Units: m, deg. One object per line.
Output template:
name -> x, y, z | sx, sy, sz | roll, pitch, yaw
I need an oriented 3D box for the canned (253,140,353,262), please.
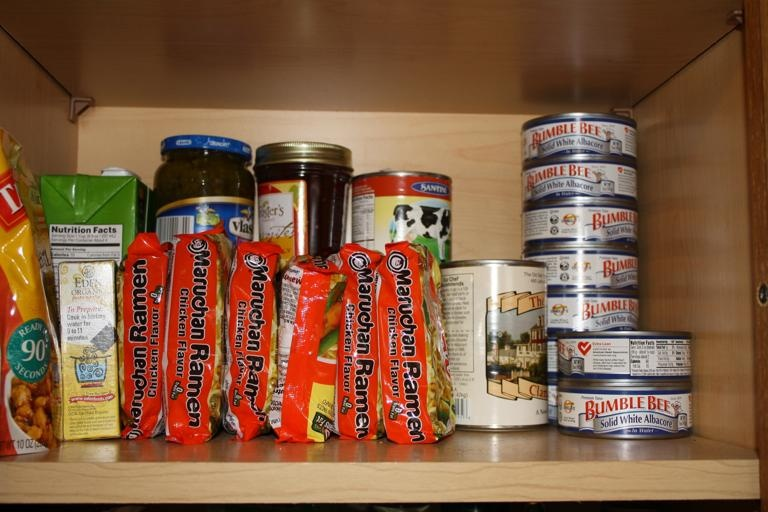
canned -> -0.154, -0.068, 1.611 | 0.189, 0.247, 0.182 | -4, -5, 36

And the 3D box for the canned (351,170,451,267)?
canned -> 0.060, -0.074, 1.618 | 0.194, 0.177, 0.177 | 0, 1, 7

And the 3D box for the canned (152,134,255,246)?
canned -> -0.322, -0.121, 1.524 | 0.182, 0.191, 0.173 | -1, 10, -13
